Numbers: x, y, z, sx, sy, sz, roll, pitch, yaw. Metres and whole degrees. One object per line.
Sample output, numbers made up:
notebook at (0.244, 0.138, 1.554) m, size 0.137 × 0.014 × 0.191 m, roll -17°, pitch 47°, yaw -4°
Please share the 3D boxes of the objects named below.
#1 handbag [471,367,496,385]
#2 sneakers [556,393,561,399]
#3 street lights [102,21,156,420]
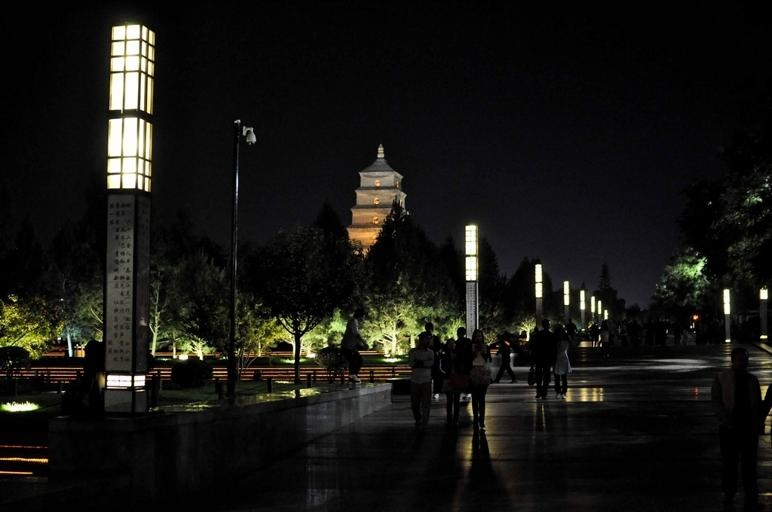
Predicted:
handbag at (2.160, 2.712, 19.962) m, size 0.434 × 0.309 × 0.433 m, roll -1°, pitch -2°, yaw 16°
sneakers at (5.319, 4.343, 27.413) m, size 0.149 × 0.236 × 0.136 m, roll -4°, pitch -18°, yaw 11°
street lights at (-4.627, -0.700, 15.990) m, size 0.849 × 6.969 × 0.823 m, roll 2°, pitch -9°, yaw -14°
